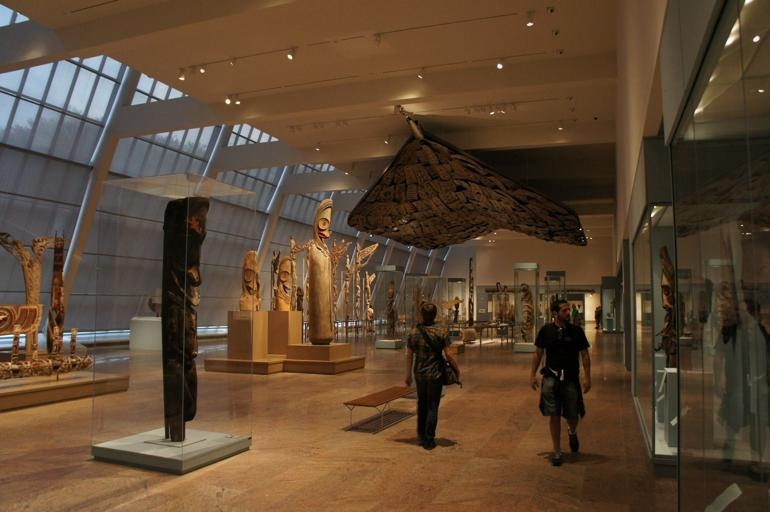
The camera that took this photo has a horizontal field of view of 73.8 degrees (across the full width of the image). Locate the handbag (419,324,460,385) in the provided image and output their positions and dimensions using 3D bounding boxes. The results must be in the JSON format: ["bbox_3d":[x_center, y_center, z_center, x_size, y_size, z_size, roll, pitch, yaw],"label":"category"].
[{"bbox_3d":[0.842,1.469,7.268,0.712,0.775,0.522,-3,-6,17],"label":"handbag"}]

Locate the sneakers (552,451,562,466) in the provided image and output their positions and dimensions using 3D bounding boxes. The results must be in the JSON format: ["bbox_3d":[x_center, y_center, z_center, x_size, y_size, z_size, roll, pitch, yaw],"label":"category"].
[{"bbox_3d":[2.188,2.573,6.549,0.140,0.151,0.216,-3,-9,17],"label":"sneakers"}]

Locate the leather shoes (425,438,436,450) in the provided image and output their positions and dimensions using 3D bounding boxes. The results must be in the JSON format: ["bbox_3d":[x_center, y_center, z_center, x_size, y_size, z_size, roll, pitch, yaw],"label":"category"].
[{"bbox_3d":[0.624,2.617,7.214,0.136,0.151,0.138,2,0,-30],"label":"leather shoes"}]
